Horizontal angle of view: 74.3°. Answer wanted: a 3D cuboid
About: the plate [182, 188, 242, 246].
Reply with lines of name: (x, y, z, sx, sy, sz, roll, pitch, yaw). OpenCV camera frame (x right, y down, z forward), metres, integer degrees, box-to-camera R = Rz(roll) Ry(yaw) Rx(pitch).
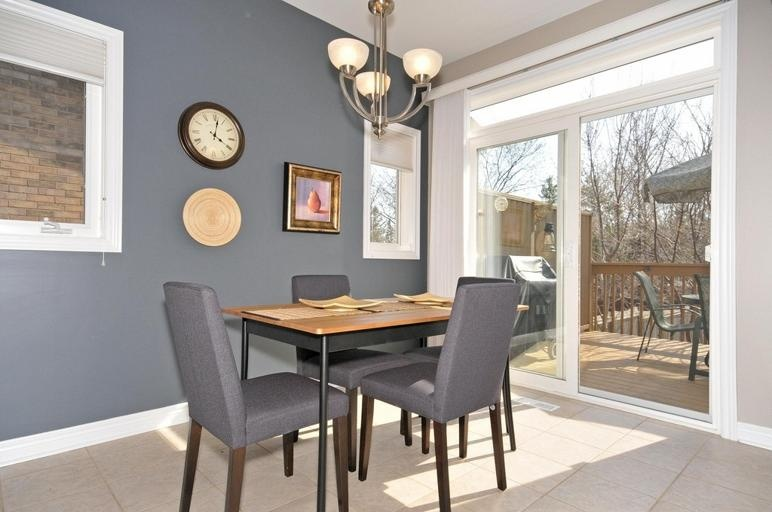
plate: (-1.435, -0.308, 4.206, 0.445, 0.460, 0.101, -31, 22, -35)

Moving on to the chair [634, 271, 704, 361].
chair: (2.824, 0.637, 4.981, 0.648, 0.860, 0.573, 0, -1, 39)

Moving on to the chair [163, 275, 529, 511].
chair: (-0.290, 0.971, 3.418, 1.481, 0.890, 0.789, 3, -3, -40)

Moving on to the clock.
clock: (-1.452, -0.999, 4.214, 0.596, 0.590, 0.109, 3, -7, -44)
